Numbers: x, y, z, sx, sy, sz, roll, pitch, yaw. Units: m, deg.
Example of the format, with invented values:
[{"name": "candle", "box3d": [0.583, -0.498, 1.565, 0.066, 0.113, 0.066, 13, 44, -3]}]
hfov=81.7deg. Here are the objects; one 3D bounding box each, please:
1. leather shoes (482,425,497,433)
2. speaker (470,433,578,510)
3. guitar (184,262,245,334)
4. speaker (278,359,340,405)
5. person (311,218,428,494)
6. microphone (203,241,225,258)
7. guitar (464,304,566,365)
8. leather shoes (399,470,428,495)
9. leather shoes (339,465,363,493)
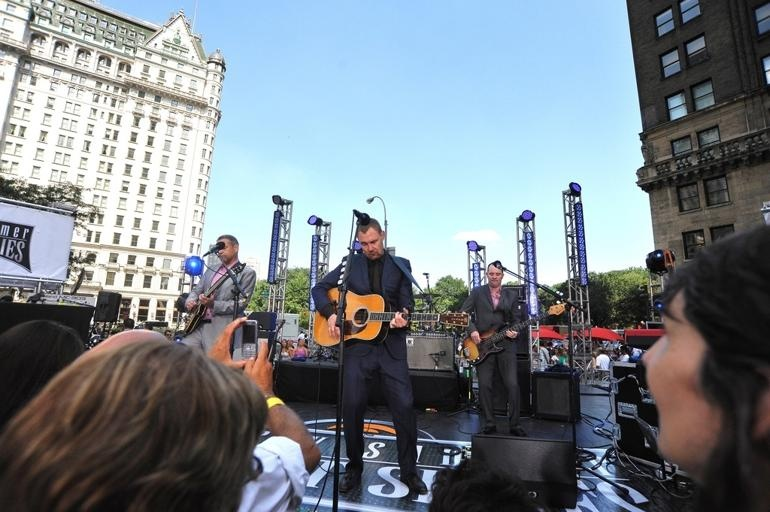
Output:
[{"name": "leather shoes", "box3d": [1.266, 2.117, 5.420, 0.125, 0.070, 0.167, 5, -15, -15]}, {"name": "speaker", "box3d": [1.015, 1.583, 3.252, 0.738, 0.507, 0.244, 1, -10, 10]}, {"name": "guitar", "box3d": [-1.744, 0.460, 4.501, 0.882, 0.355, 0.124, -46, -40, 13]}, {"name": "speaker", "box3d": [-1.278, 2.065, 7.302, 1.175, 0.686, 1.164, 3, -8, -16]}, {"name": "person", "box3d": [-0.126, 0.772, 3.876, 0.988, 2.231, 0.689, 4, -10, -5]}, {"name": "microphone", "box3d": [-1.587, -0.058, 4.214, 0.230, 0.070, 0.069, -28, -20, -27]}, {"name": "guitar", "box3d": [1.517, 0.996, 5.631, 1.434, 0.799, 0.373, -5, -13, 40]}, {"name": "leather shoes", "box3d": [0.230, 1.795, 3.521, 0.092, 0.098, 0.247, 8, -18, -26]}, {"name": "leather shoes", "box3d": [-0.268, 1.750, 3.536, 0.166, 0.187, 0.264, 3, -10, 1]}]
